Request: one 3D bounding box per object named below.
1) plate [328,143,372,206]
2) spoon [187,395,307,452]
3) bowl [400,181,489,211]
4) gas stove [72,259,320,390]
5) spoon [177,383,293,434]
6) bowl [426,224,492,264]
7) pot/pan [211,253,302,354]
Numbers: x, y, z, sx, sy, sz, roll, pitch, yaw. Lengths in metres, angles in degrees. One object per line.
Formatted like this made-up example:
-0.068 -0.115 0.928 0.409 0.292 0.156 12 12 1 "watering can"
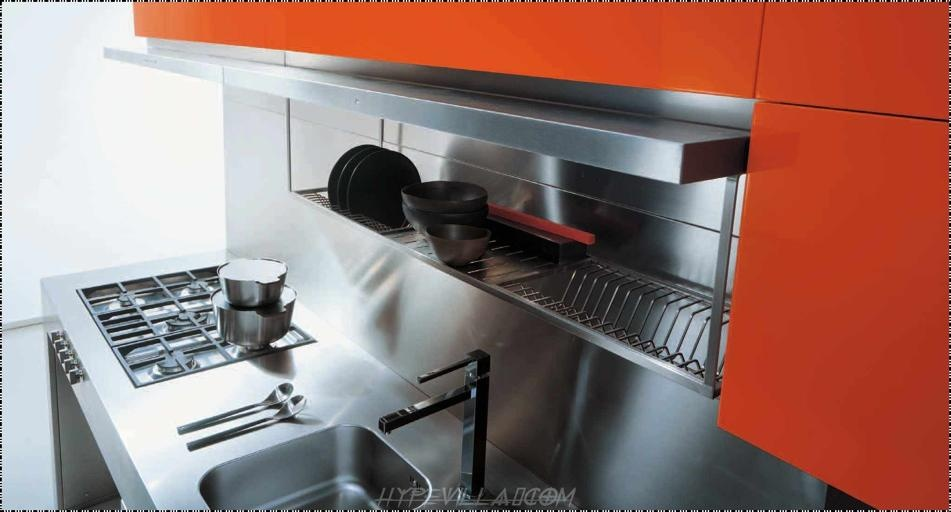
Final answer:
-0.473 -0.287 2.015 0.052 0.202 0.204 19 -46 -13 "plate"
-0.767 0.594 2.095 0.508 0.123 0.063 -13 -69 -31 "spoon"
-0.086 -0.187 1.754 0.164 0.163 0.046 -10 -74 -44 "bowl"
-1.318 0.321 2.529 0.629 0.822 0.096 -11 -67 -29 "gas stove"
-0.848 0.555 2.137 0.523 0.121 0.075 -13 -74 -33 "spoon"
-0.045 -0.027 1.647 0.210 0.161 0.093 7 -66 11 "bowl"
-0.934 0.185 2.481 0.350 0.418 0.328 -9 -71 -40 "pot/pan"
